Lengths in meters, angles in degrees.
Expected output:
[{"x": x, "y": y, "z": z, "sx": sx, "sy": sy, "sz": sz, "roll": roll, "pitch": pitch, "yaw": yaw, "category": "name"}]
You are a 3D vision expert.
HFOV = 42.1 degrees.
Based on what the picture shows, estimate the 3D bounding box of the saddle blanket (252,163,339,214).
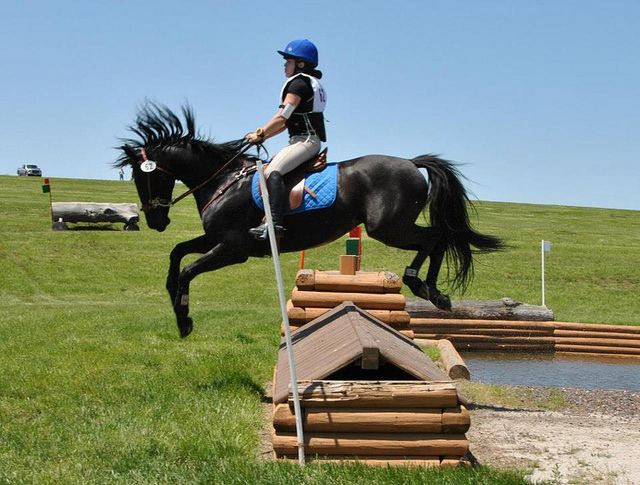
[{"x": -0.321, "y": -0.696, "z": 11.217, "sx": 0.852, "sy": 0.831, "sz": 0.318, "roll": 1, "pitch": -13, "yaw": 6, "category": "saddle blanket"}]

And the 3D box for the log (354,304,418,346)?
[{"x": 0.872, "y": 1.112, "z": 11.403, "sx": 0.774, "sy": 0.457, "sz": 0.479, "roll": 0, "pitch": 5, "yaw": 1, "category": "log"}]

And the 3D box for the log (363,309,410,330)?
[{"x": 1.046, "y": 1.105, "z": 12.243, "sx": 0.446, "sy": 0.132, "sz": 0.406, "roll": 4, "pitch": 2, "yaw": -4, "category": "log"}]

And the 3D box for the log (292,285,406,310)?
[{"x": 0.427, "y": 0.857, "z": 12.370, "sx": 1.658, "sy": 0.290, "sz": 0.415, "roll": 0, "pitch": 5, "yaw": -2, "category": "log"}]

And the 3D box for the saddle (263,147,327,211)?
[{"x": -0.328, "y": -0.873, "z": 11.676, "sx": 0.888, "sy": 0.864, "sz": 0.704, "roll": -1, "pitch": 9, "yaw": -13, "category": "saddle"}]
